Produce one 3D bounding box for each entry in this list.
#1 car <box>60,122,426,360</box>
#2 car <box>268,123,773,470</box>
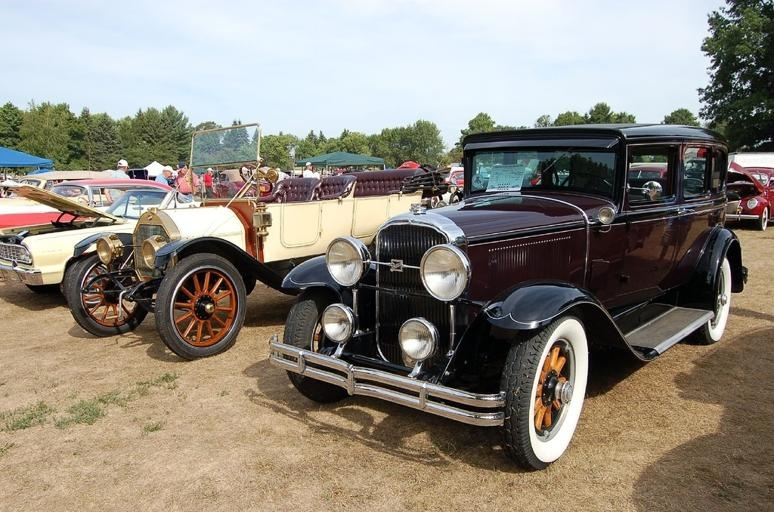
[{"bbox_3d":[-1.780,-0.389,8.167,2.811,2.543,5.263,1,5,43],"label":"car"},{"bbox_3d":[1.691,0.121,5.709,2.711,2.268,5.236,0,4,45],"label":"car"}]
